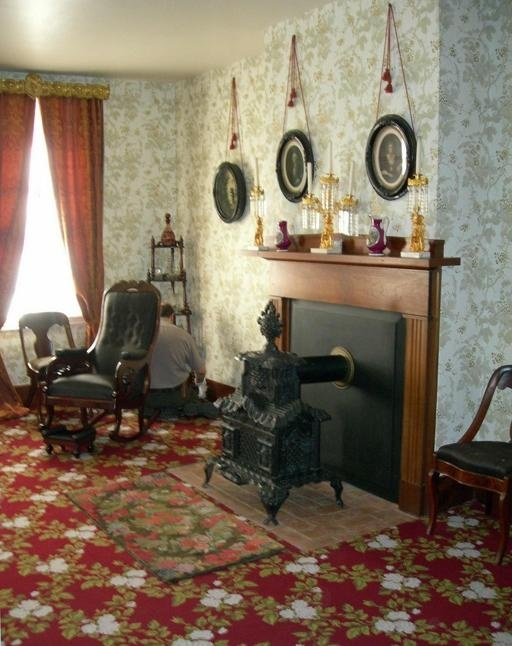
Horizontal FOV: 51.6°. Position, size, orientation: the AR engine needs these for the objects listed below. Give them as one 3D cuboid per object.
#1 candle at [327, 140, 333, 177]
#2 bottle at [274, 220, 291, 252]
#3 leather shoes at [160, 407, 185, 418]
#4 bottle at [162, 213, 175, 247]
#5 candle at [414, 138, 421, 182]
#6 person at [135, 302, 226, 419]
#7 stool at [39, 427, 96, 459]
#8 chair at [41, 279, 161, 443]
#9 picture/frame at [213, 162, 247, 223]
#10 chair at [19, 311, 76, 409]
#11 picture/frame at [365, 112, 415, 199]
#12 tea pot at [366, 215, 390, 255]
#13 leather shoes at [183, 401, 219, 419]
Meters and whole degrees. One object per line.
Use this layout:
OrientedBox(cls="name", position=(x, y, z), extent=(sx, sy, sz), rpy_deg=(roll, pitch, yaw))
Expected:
OrientedBox(cls="candle", position=(0.438, -0.965, 3.117), extent=(0.026, 0.221, 0.115), rpy_deg=(0, 1, 8))
OrientedBox(cls="bottle", position=(0.195, -0.614, 3.744), extent=(0.097, 0.205, 0.182), rpy_deg=(0, 0, 5))
OrientedBox(cls="leather shoes", position=(-0.765, 0.824, 4.846), extent=(0.098, 0.047, 0.153), rpy_deg=(-1, 2, 36))
OrientedBox(cls="bottle", position=(-0.913, -0.975, 5.526), extent=(0.140, 0.379, 0.349), rpy_deg=(0, 0, -10))
OrientedBox(cls="candle", position=(0.801, -0.826, 2.629), extent=(0.024, 0.255, 0.190), rpy_deg=(1, 0, 18))
OrientedBox(cls="person", position=(-0.732, 0.372, 4.961), extent=(0.773, 1.035, 0.726), rpy_deg=(0, 0, -5))
OrientedBox(cls="stool", position=(-1.380, 0.863, 3.889), extent=(0.394, 0.197, 0.352), rpy_deg=(0, 0, 9))
OrientedBox(cls="chair", position=(-1.213, 0.306, 4.247), extent=(0.727, 1.175, 0.818), rpy_deg=(2, 6, 21))
OrientedBox(cls="picture/frame", position=(-0.234, -1.168, 4.754), extent=(0.193, 0.518, 0.489), rpy_deg=(0, 0, -21))
OrientedBox(cls="chair", position=(-1.786, 0.393, 4.759), extent=(0.623, 0.797, 0.625), rpy_deg=(-4, 18, -16))
OrientedBox(cls="picture/frame", position=(0.729, -0.900, 2.873), extent=(0.126, 0.440, 0.362), rpy_deg=(0, 0, -14))
OrientedBox(cls="tea pot", position=(0.675, -0.487, 2.926), extent=(0.113, 0.249, 0.235), rpy_deg=(0, 0, 13))
OrientedBox(cls="leather shoes", position=(-0.506, 0.800, 4.867), extent=(0.388, 0.156, 0.129), rpy_deg=(7, -7, -2))
